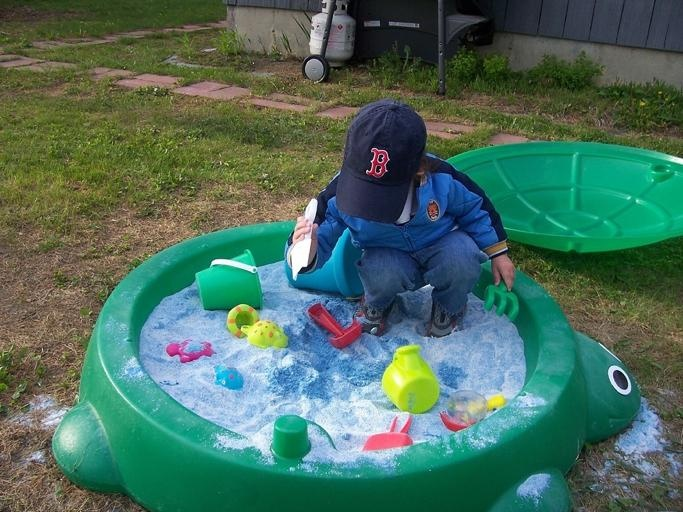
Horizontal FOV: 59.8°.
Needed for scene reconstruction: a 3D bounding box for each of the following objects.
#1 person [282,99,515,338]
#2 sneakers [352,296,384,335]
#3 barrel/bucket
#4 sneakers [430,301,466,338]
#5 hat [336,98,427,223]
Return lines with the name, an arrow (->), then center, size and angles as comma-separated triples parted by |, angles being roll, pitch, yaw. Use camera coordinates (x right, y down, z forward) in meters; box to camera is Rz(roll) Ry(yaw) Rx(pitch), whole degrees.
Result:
person -> 0.279, -0.172, 2.588 | 0.863, 1.095, 0.716 | -5, 29, 4
sneakers -> 0.141, 0.264, 2.753 | 0.162, 0.171, 0.130 | 10, 34, 13
barrel/bucket -> -0.504, 0.132, 2.702 | 0.224, 0.258, 0.247 | -6, 70, -11
sneakers -> 0.485, 0.246, 2.704 | 0.091, 0.156, 0.227 | 10, 39, 25
hat -> 0.154, -0.401, 2.289 | 0.299, 0.275, 0.510 | 19, 54, 15
